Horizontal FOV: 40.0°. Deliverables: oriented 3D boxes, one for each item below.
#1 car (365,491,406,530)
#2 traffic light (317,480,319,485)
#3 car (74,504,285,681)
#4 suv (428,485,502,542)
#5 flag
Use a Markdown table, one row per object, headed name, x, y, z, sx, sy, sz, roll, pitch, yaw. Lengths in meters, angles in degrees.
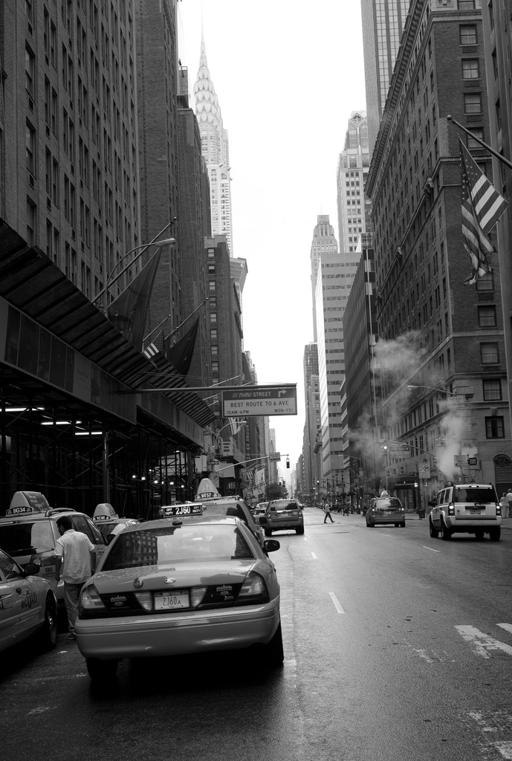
| name | x | y | z | sx | sy | sz | roll | pitch | yaw |
| --- | --- | --- | --- | --- | --- | --- | --- | --- | --- |
| car | 8.654 | 8.753 | 47.920 | 1.393 | 2.186 | 3.317 | -1 | -4 | 1 |
| traffic light | 24.485 | 39.910 | 277.176 | 0.802 | 2.761 | 1.114 | -1 | -5 | 6 |
| car | -0.605 | 1.723 | 6.119 | 0.811 | 1.072 | 2.435 | -3 | -5 | 2 |
| suv | 8.345 | 5.218 | 28.838 | 1.539 | 2.371 | 3.888 | 0 | -8 | 0 |
| flag | 6.554 | -5.287 | 20.619 | 0.950 | 3.427 | 3.317 | -3 | -10 | 16 |
